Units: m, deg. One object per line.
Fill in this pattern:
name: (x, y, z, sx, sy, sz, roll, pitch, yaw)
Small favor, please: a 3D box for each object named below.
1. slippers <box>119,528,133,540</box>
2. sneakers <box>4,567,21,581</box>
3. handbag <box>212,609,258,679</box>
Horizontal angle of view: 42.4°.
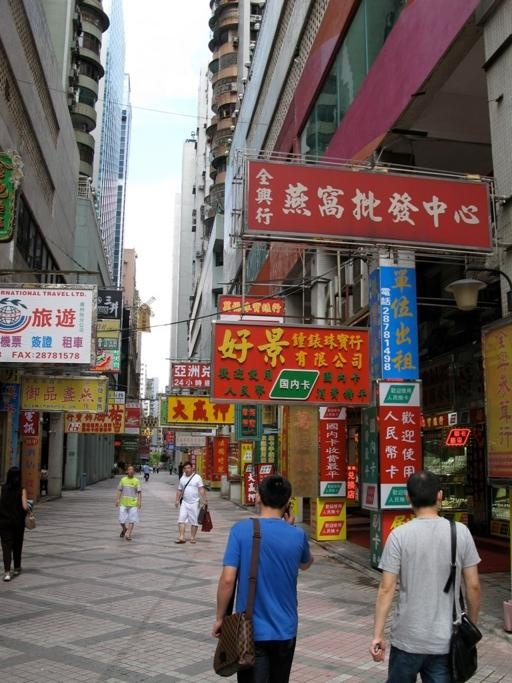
slippers: (-2.860, 4.246, 14.708, 0.219, 0.316, 0.741, 6, -20, -9)
sneakers: (-3.432, 3.283, 9.333, 0.141, 0.182, 0.419, 3, -4, -9)
handbag: (-0.087, 1.267, 2.775, 0.105, 0.250, 0.224, 7, -11, -34)
